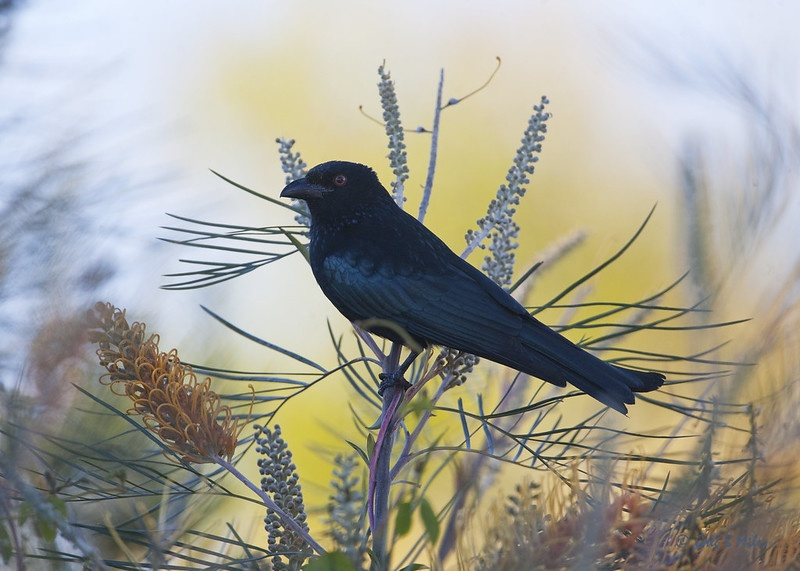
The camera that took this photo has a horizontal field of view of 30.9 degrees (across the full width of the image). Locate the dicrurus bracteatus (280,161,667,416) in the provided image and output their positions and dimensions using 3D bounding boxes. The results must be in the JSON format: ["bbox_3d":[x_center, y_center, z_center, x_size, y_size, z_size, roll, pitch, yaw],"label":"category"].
[{"bbox_3d":[0.102,-0.006,5.575,2.005,1.238,0.625,3,6,26],"label":"dicrurus bracteatus"}]
